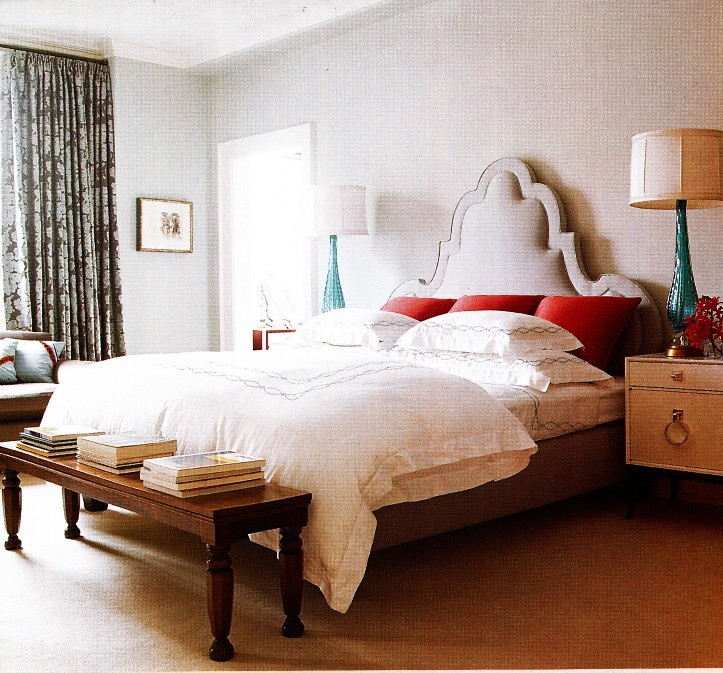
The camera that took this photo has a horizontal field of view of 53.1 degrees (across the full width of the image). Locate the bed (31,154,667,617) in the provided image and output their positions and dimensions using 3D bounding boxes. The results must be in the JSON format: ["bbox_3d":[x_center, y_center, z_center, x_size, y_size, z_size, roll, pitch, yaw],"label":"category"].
[{"bbox_3d":[0.181,0.191,2.653,2.157,1.155,2.069,0,0,-33],"label":"bed"}]
